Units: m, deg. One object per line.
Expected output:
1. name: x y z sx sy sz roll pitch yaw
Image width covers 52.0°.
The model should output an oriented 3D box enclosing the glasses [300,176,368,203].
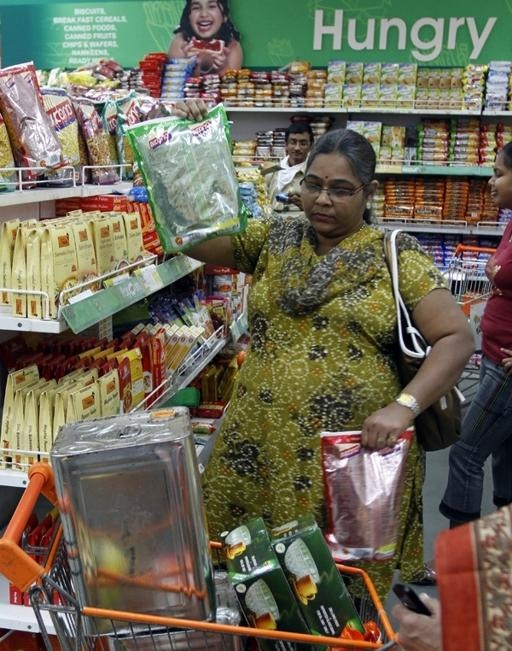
1. glasses: 0.195 -0.355 1.343 0.163 0.057 0.087 1 22 8

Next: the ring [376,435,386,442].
1. ring: 0.265 0.236 1.106 0.013 0.011 0.012 7 6 -1

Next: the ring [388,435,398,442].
1. ring: 0.290 0.236 1.110 0.016 0.019 0.011 1 8 -25

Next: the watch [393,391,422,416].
1. watch: 0.342 0.165 1.204 0.055 0.059 0.039 8 53 44
